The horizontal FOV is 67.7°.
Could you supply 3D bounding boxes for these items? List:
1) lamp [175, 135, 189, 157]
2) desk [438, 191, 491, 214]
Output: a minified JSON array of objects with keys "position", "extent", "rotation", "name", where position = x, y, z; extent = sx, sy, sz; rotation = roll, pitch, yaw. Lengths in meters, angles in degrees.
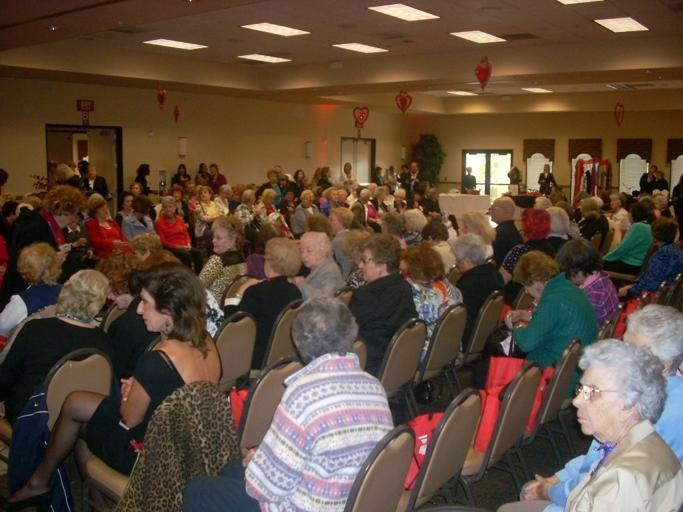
[{"position":[-4.354,-3.005,14.104],"extent":[0.210,0.560,0.369],"rotation":[4,8,27],"name":"lamp"},{"position":[3.547,-1.535,14.835],"extent":[1.271,0.684,1.306],"rotation":[4,7,39],"name":"desk"}]
